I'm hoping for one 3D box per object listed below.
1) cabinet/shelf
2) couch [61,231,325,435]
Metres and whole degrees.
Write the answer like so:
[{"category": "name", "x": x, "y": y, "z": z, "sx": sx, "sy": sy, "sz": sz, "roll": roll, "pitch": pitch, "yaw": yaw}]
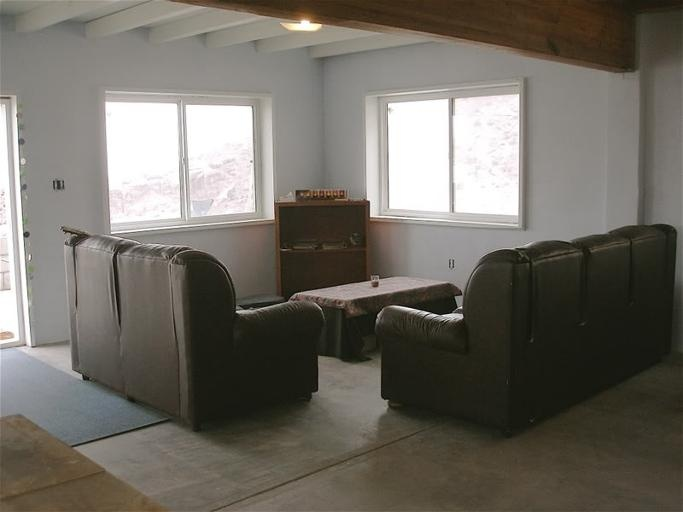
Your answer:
[{"category": "cabinet/shelf", "x": -0.234, "y": -0.032, "z": 6.691, "sx": 1.184, "sy": 1.125, "sz": 0.377, "roll": -3, "pitch": 3, "yaw": -29}, {"category": "couch", "x": -1.273, "y": 0.439, "z": 4.489, "sx": 2.056, "sy": 1.203, "sz": 1.135, "roll": 5, "pitch": 8, "yaw": 44}]
